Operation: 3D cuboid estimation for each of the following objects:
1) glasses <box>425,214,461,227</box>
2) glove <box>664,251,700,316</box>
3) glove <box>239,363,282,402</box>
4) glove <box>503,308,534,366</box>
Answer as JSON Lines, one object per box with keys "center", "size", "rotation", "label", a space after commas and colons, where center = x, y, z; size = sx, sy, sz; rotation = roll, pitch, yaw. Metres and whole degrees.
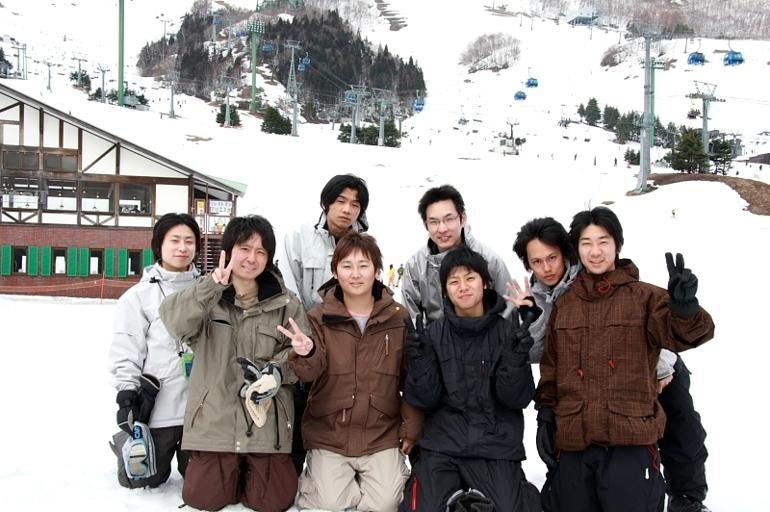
{"center": [0.836, -0.514, 10.046], "size": [0.455, 0.177, 0.132], "rotation": [1, 2, 12], "label": "glasses"}
{"center": [3.850, 0.372, 8.973], "size": [0.441, 0.831, 0.304], "rotation": [1, 2, 9], "label": "glove"}
{"center": [-1.685, 1.704, 9.374], "size": [0.465, 0.247, 0.561], "rotation": [24, 32, 25], "label": "glove"}
{"center": [1.854, 1.096, 9.610], "size": [0.526, 0.682, 0.301], "rotation": [7, -11, -4], "label": "glove"}
